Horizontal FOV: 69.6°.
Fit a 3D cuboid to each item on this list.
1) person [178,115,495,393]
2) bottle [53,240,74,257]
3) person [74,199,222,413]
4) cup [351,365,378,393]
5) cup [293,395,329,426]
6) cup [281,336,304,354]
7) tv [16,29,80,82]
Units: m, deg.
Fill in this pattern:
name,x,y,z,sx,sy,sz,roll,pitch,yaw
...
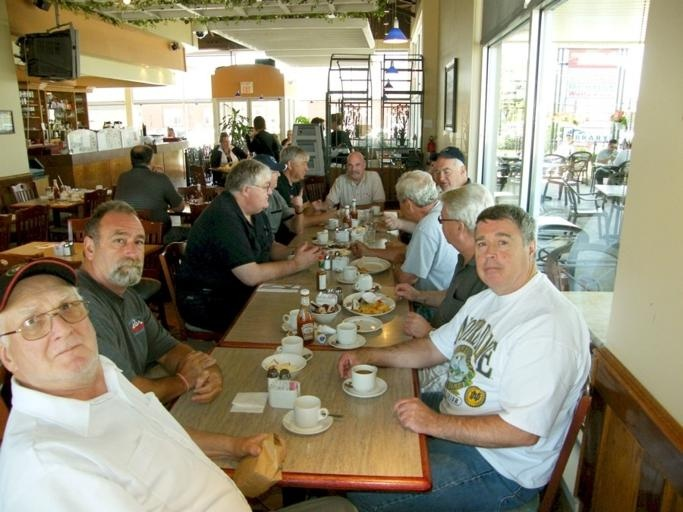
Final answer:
name,x,y,z,sx,sy,sz,roll,pitch,yaw
person,-0.258,0.085,3.109,1.430,0.436,1.448,7,31,6
bottle,-2.260,-0.058,3.990,0.132,0.093,0.071,10,33,-4
person,-0.917,0.213,2.209,0.772,0.856,0.591,2,-3,-6
cup,0.083,0.474,1.901,0.079,0.068,0.100,0,5,4
cup,-0.104,0.542,1.736,0.108,0.070,0.083,6,11,21
cup,-0.219,0.383,2.164,0.089,0.065,0.066,-4,15,-12
tv,-4.447,-3.106,7.689,0.969,0.899,0.702,-3,7,-28
